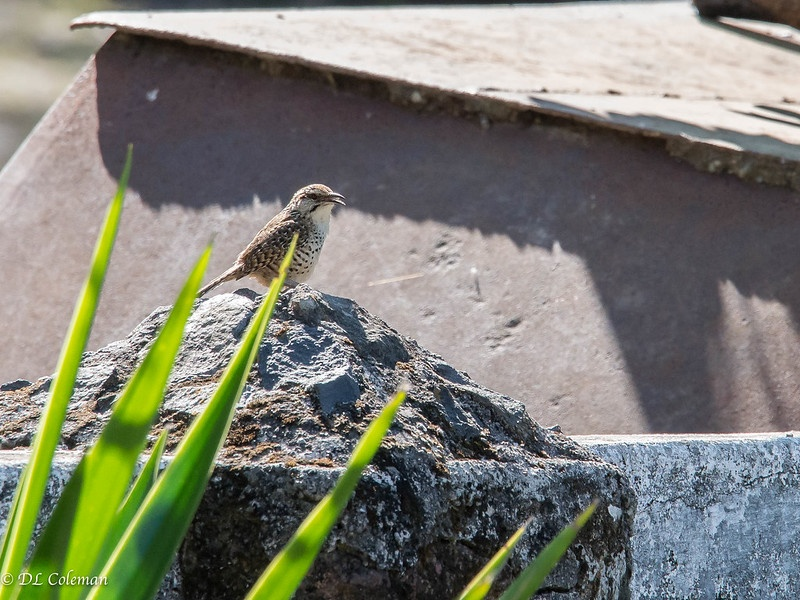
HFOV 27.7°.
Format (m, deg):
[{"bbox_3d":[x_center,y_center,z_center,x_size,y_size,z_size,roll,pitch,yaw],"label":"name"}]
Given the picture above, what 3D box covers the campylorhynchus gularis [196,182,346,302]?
[{"bbox_3d":[-0.670,-0.327,9.417,0.455,0.531,0.615,23,41,14],"label":"campylorhynchus gularis"}]
